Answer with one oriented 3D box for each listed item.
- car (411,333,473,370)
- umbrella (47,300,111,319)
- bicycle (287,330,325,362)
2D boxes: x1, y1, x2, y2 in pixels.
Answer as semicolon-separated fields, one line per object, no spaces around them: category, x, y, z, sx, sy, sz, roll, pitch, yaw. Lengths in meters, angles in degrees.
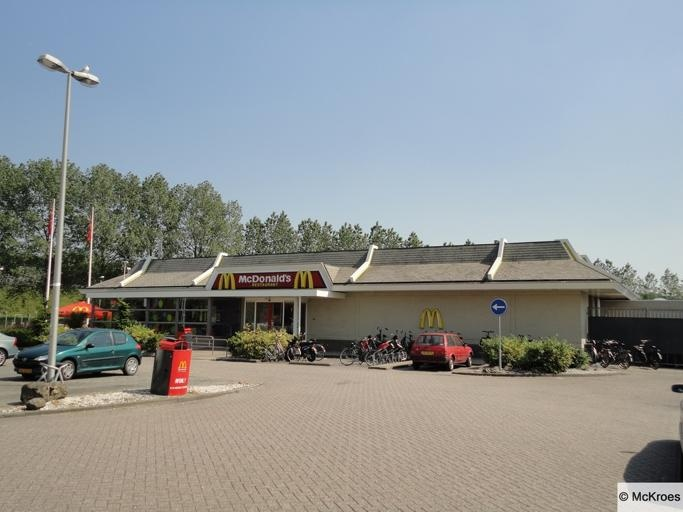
car;4.515;4.184;23.392;1.493;1.188;2.660;-4;-4;38
umbrella;-19.078;4.039;39.400;2.324;0.939;2.305;-2;-9;9
bicycle;-1.821;4.582;26.342;1.696;1.062;1.047;0;-5;24
